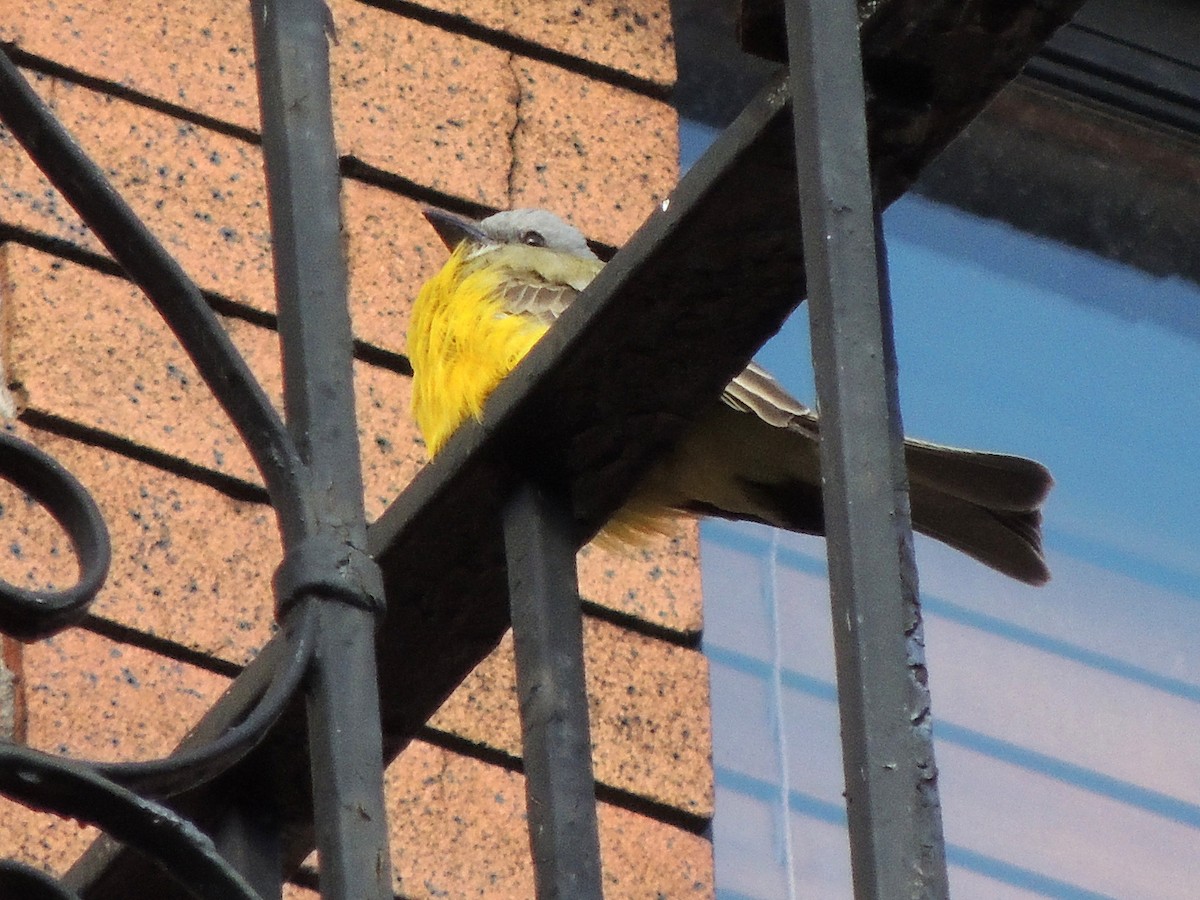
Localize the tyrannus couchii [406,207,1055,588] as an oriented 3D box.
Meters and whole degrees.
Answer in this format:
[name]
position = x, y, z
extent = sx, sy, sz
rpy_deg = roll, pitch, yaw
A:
[tyrannus couchii]
position = 0.177, -0.069, 9.006
extent = 1.067, 0.302, 0.451
rpy_deg = 28, -18, 17
